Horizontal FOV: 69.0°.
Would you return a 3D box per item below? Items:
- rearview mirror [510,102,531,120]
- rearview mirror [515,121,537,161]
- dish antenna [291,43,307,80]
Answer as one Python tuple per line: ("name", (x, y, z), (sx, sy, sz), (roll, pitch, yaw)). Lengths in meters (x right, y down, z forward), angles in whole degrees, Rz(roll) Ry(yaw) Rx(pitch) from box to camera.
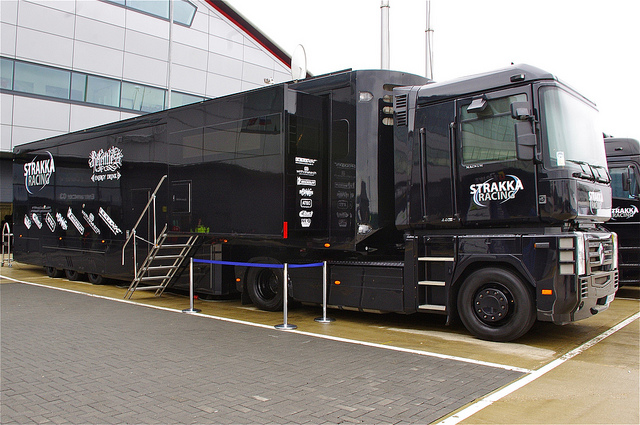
("rearview mirror", (3.498, -1.756, 8.034), (0.370, 0.296, 0.161), (0, 2, 0))
("rearview mirror", (3.546, -1.239, 8.026), (0.298, 0.690, 0.169), (0, 2, -2))
("dish antenna", (-0.528, -3.805, 11.669), (0.337, 1.126, 1.019), (0, 2, -5))
